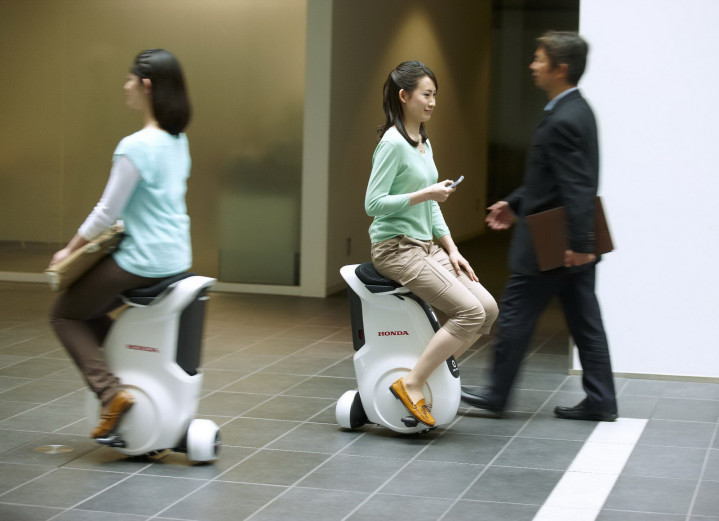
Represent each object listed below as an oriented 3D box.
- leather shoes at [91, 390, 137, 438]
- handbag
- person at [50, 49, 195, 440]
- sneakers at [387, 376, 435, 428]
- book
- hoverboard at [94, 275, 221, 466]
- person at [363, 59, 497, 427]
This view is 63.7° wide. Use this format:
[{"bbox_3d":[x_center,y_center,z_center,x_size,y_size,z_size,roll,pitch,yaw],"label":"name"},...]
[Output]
[{"bbox_3d":[-1.125,0.686,2.697,0.200,0.230,0.189,-6,11,-35],"label":"leather shoes"},{"bbox_3d":[-1.241,-0.013,2.654,0.315,0.300,0.162,-2,4,-30],"label":"handbag"},{"bbox_3d":[-1.152,-0.074,2.855,0.717,1.787,0.523,5,4,33],"label":"person"},{"bbox_3d":[0.275,0.745,3.036,0.238,0.260,0.117,0,3,4],"label":"sneakers"},{"bbox_3d":[1.107,-0.118,3.185,0.455,0.444,0.111,-11,4,0],"label":"book"},{"bbox_3d":[-0.906,0.459,2.929,0.592,0.844,0.589,6,12,10],"label":"hoverboard"},{"bbox_3d":[0.361,-0.104,3.107,0.649,1.948,0.587,-2,4,-29],"label":"person"}]
